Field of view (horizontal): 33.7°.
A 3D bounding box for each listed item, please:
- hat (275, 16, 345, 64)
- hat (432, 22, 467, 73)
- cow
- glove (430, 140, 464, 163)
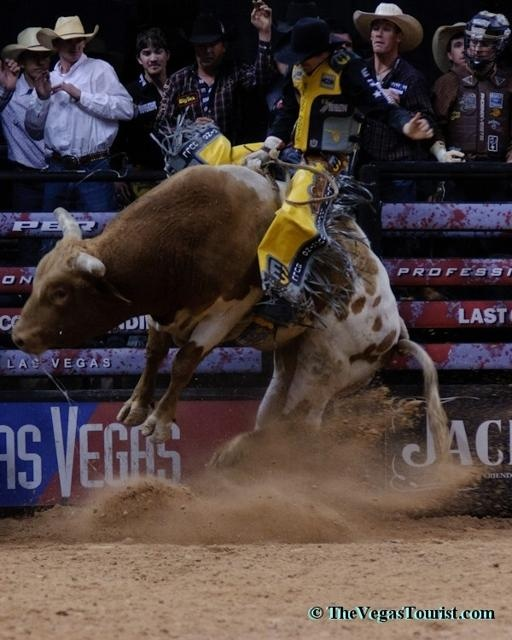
[{"bbox_3d":[0.272,-1.402,4.285,0.331,0.135,0.242,-38,61,-20],"label":"hat"},{"bbox_3d":[1.369,-1.916,5.969,0.335,0.343,0.123,2,16,26],"label":"hat"},{"bbox_3d":[-0.117,0.025,4.264,2.004,1.647,0.603,-16,28,-24],"label":"cow"},{"bbox_3d":[1.168,-1.041,5.167,0.225,0.075,0.203,25,-7,12],"label":"glove"}]
